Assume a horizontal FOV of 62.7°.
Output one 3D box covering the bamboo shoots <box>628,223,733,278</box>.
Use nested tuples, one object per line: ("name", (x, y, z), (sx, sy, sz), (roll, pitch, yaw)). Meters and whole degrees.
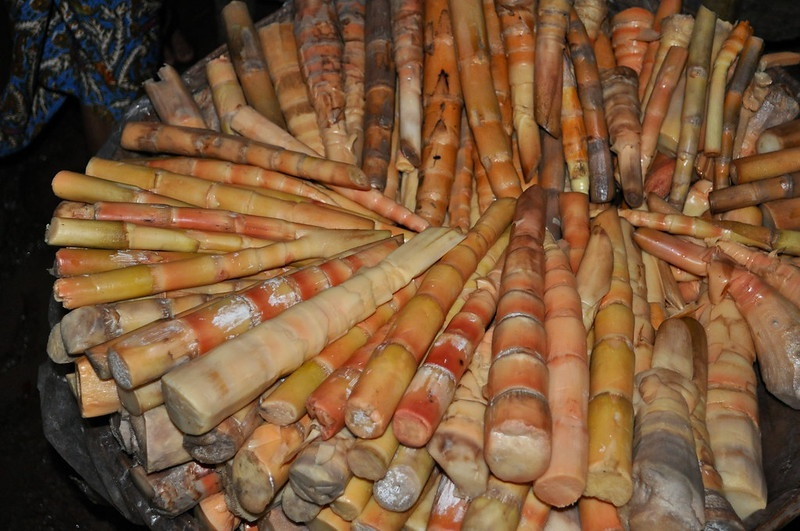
("bamboo shoots", (1.182, -0.068, 2.848), (0.439, 0.148, 0.149), (23, 31, 12))
